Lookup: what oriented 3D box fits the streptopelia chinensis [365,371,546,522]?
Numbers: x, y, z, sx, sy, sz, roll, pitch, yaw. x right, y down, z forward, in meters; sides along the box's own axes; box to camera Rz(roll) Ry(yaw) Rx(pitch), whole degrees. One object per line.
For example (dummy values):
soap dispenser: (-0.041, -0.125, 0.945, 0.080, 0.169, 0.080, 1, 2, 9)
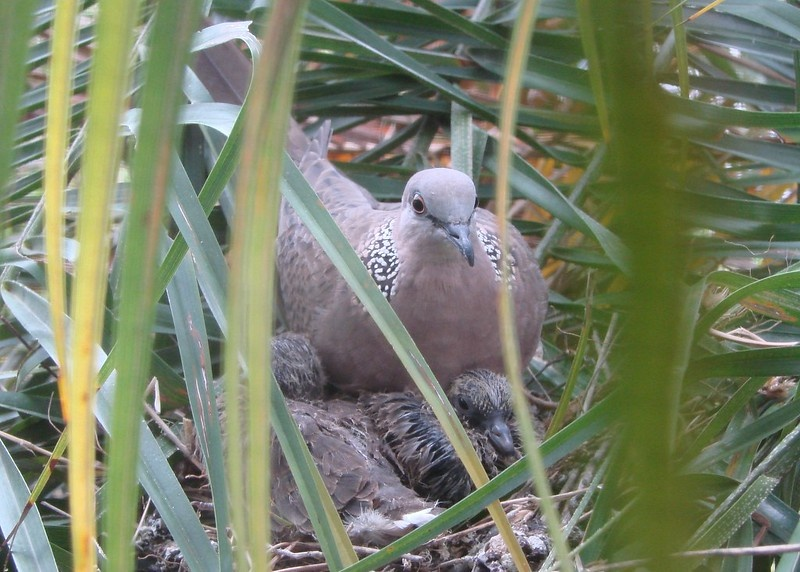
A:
streptopelia chinensis: (0.152, 0.429, 3.237, 0.324, 0.411, 0.523, -27, 52, -26)
